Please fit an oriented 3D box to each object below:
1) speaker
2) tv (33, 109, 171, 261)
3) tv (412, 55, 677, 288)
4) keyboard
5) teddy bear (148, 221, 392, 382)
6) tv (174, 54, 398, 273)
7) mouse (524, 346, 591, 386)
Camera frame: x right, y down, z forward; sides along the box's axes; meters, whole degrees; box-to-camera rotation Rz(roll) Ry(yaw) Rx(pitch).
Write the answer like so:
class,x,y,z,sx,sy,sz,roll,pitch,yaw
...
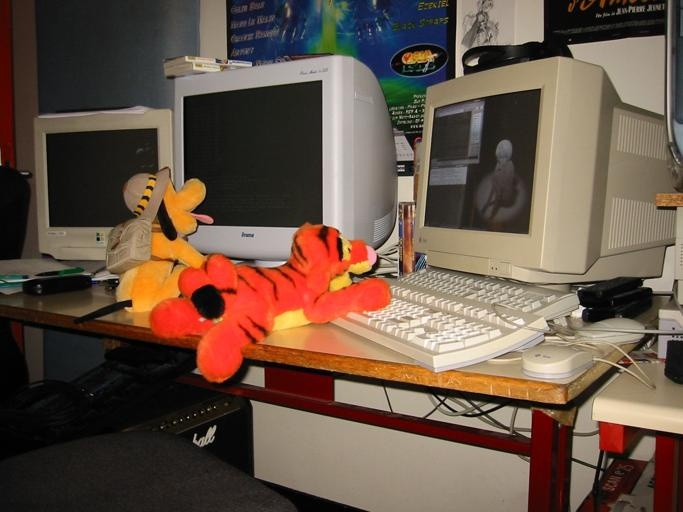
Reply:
class,x,y,z,sx,sy,sz,roll,pitch,yaw
speaker,-0.477,0.455,1.389,0.241,0.141,0.245,-32,-29,-3
tv,-0.770,-0.240,1.722,0.469,0.555,0.291,2,5,18
tv,0.583,-0.208,1.580,0.579,0.585,0.582,-4,6,-41
keyboard,0.253,0.132,1.221,0.442,0.103,0.433,-8,12,-44
teddy bear,-0.141,0.058,1.255,0.535,0.236,0.303,-14,18,-24
tv,-0.200,-0.259,1.859,0.758,0.785,0.565,3,7,30
mouse,0.410,0.200,1.000,0.128,0.046,0.102,4,9,22
